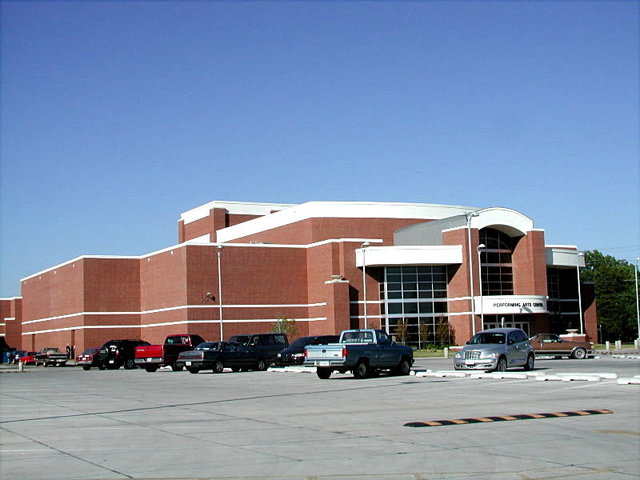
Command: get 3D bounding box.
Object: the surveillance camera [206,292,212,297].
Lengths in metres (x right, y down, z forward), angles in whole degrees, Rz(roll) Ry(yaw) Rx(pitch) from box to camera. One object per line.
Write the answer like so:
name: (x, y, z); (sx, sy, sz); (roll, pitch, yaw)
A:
surveillance camera: (-10.428, 5.009, 70.388); (0.350, 0.316, 0.252); (1, -11, -13)

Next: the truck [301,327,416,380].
truck: (1.862, 5.048, 33.585); (4.403, 2.111, 1.726); (7, -14, -38)
